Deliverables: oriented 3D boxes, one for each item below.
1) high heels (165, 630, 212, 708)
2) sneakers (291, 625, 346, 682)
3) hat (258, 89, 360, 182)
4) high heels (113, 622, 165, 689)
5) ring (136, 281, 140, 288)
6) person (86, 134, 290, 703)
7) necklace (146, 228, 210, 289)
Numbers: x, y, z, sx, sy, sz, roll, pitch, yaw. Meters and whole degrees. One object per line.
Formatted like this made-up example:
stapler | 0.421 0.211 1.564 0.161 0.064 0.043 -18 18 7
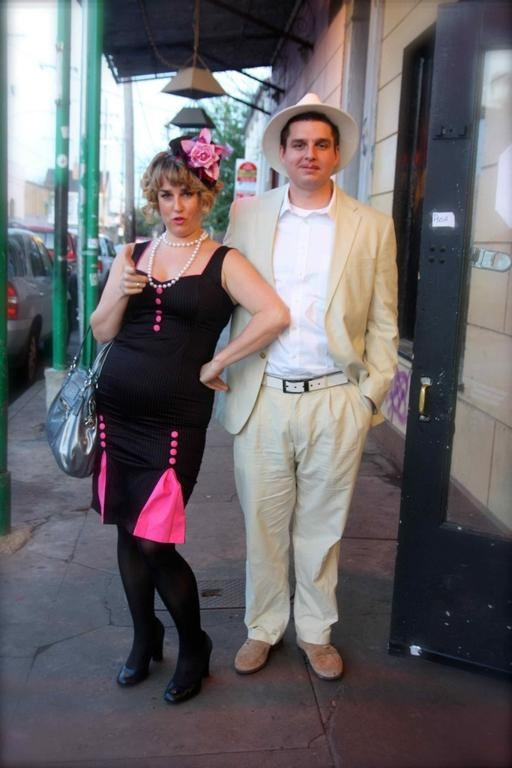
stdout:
high heels | -0.211 0.921 1.893 0.073 0.120 0.236 -3 0 14
sneakers | 0.215 0.957 2.052 0.083 0.098 0.232 -2 -11 -12
hat | 0.174 -0.862 2.026 0.280 0.385 0.155 3 48 0
high heels | -0.373 0.909 1.941 0.079 0.181 0.249 -4 -6 22
ring | -0.340 -0.288 1.683 0.008 0.012 0.003 -5 1 -44
person | -0.231 0.110 1.857 0.612 1.758 0.364 0 4 -9
necklace | -0.242 -0.376 1.786 0.187 0.191 0.150 1 4 -7
